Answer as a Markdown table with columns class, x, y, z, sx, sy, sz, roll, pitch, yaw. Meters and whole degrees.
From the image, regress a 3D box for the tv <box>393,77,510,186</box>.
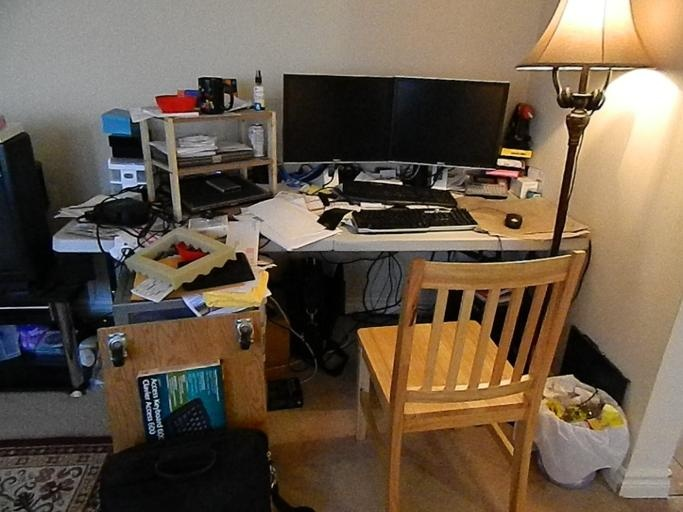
| class | x | y | z | sx | sy | sz | roll | pitch | yaw |
| --- | --- | --- | --- | --- | --- | --- | --- | --- | --- |
| tv | 0.555 | -0.644 | 2.821 | 0.587 | 0.447 | 0.063 | 4 | 29 | 3 |

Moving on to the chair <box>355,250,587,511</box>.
| class | x | y | z | sx | sy | sz | roll | pitch | yaw |
| --- | --- | --- | --- | --- | --- | --- | --- | --- | --- |
| chair | 0.537 | 0.542 | 2.208 | 0.610 | 1.217 | 0.732 | -6 | 38 | -7 |

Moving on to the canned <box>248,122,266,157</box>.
| class | x | y | z | sx | sy | sz | roll | pitch | yaw |
| --- | --- | --- | --- | --- | --- | --- | --- | --- | --- |
| canned | -0.412 | -0.571 | 2.744 | 0.086 | 0.145 | 0.081 | 16 | 23 | 39 |

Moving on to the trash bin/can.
| class | x | y | z | sx | sy | sz | roll | pitch | yaw |
| --- | --- | --- | --- | --- | --- | --- | --- | --- | --- |
| trash bin/can | 1.018 | 0.777 | 2.405 | 0.362 | 0.371 | 0.324 | 17 | 28 | 36 |

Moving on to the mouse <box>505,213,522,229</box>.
| class | x | y | z | sx | sy | sz | roll | pitch | yaw |
| --- | --- | --- | --- | --- | --- | --- | --- | --- | --- |
| mouse | 0.766 | -0.157 | 2.499 | 0.065 | 0.047 | 0.066 | -3 | 35 | 2 |

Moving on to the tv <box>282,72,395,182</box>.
| class | x | y | z | sx | sy | sz | roll | pitch | yaw |
| --- | --- | --- | --- | --- | --- | --- | --- | --- | --- |
| tv | -0.019 | -0.673 | 2.804 | 0.574 | 0.440 | 0.061 | -1 | 21 | -9 |

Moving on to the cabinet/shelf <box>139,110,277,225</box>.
| class | x | y | z | sx | sy | sz | roll | pitch | yaw |
| --- | --- | --- | --- | --- | --- | --- | --- | --- | --- |
| cabinet/shelf | -0.625 | -0.478 | 2.698 | 0.523 | 0.433 | 0.382 | -16 | 24 | -34 |

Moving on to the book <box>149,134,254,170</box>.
| class | x | y | z | sx | sy | sz | roll | pitch | yaw |
| --- | --- | --- | --- | --- | --- | --- | --- | --- | --- |
| book | -0.639 | -0.502 | 2.615 | 0.434 | 0.096 | 0.263 | -13 | 28 | -30 |
